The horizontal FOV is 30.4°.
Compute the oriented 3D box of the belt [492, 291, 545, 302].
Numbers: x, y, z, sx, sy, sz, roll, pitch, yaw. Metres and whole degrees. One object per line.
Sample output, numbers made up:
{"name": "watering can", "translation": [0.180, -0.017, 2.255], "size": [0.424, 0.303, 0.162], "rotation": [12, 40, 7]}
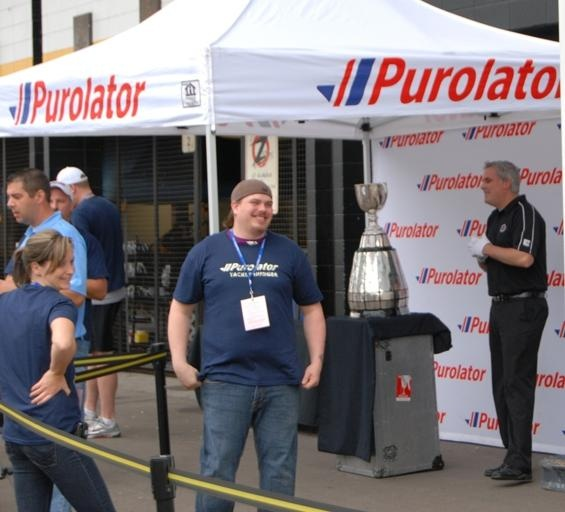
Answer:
{"name": "belt", "translation": [1.556, 0.269, 6.909], "size": [0.345, 0.075, 0.158], "rotation": [-1, 3, 16]}

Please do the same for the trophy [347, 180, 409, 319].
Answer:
{"name": "trophy", "translation": [0.647, -0.051, 7.184], "size": [0.403, 0.904, 0.448], "rotation": [-1, 3, 13]}

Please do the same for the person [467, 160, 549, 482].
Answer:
{"name": "person", "translation": [1.500, 0.416, 6.954], "size": [0.480, 2.099, 0.438], "rotation": [-4, 3, -31]}

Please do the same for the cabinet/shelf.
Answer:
{"name": "cabinet/shelf", "translation": [0.640, 0.889, 7.248], "size": [0.788, 1.079, 1.059], "rotation": [-1, 0, -12]}

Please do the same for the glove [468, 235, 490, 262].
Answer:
{"name": "glove", "translation": [1.312, -0.057, 6.978], "size": [0.064, 0.147, 0.123], "rotation": [10, -11, -32]}
